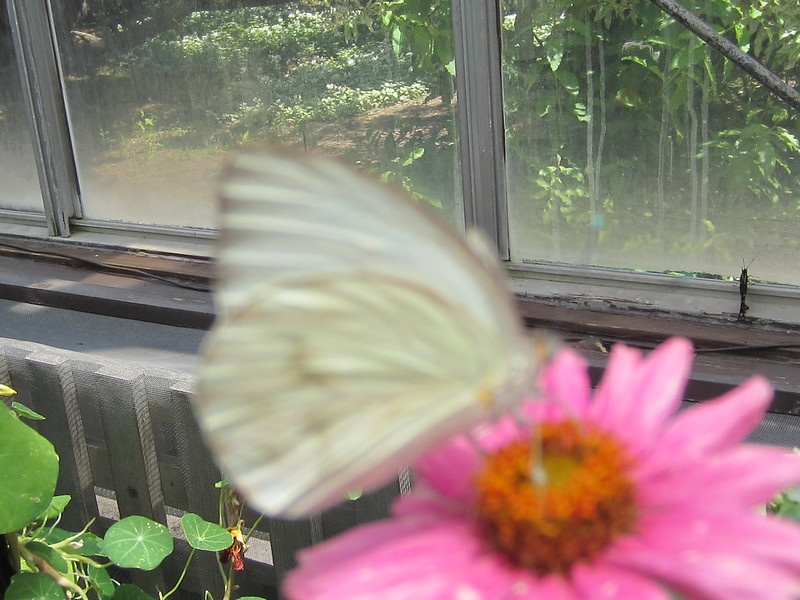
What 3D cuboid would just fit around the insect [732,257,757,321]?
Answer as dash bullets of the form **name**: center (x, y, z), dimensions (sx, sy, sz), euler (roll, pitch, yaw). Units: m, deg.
- **insect**: center (0.652, -0.012, 1.436), dimensions (0.051, 0.129, 0.034), euler (-11, -30, 38)
